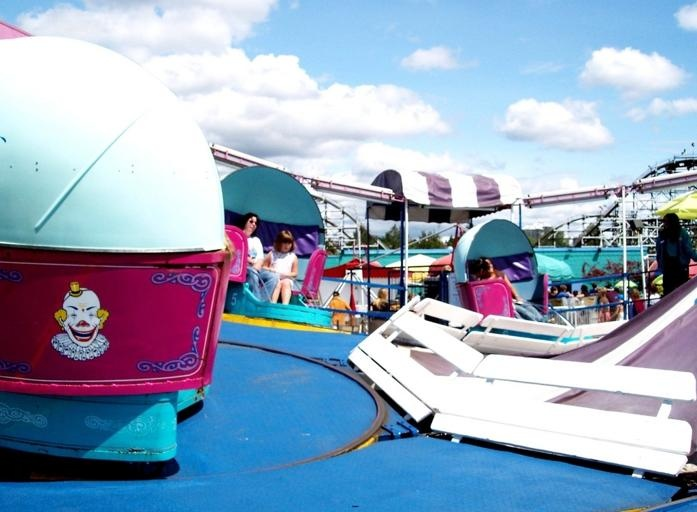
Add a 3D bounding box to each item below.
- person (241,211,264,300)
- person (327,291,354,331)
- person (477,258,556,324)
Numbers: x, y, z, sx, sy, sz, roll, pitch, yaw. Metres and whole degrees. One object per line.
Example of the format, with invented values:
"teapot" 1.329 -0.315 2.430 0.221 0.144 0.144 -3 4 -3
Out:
"person" -1.235 -0.054 8.614 0.259 0.961 1.445 -1 9 -9
"person" -0.172 0.982 12.154 0.322 0.865 0.220 -5 34 -6
"person" 2.318 0.447 9.633 0.896 0.739 1.990 2 9 11
